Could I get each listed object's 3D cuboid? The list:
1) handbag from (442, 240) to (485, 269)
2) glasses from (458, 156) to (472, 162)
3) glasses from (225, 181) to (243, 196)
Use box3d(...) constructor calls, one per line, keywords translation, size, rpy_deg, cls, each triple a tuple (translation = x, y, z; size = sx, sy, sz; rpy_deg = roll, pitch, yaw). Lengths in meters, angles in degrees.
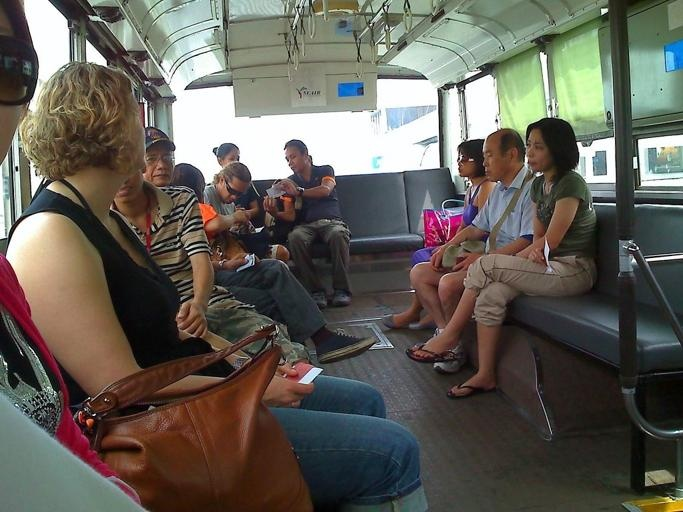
box3d(translation=(1.011, -0.021, 4.068), size=(0.295, 0.123, 0.228), rpy_deg=(-29, 17, -9), cls="handbag")
box3d(translation=(1.277, -0.994, 5.011), size=(0.077, 0.025, 0.079), rpy_deg=(5, -1, -5), cls="glasses")
box3d(translation=(-0.991, -0.608, 4.486), size=(0.110, 0.033, 0.114), rpy_deg=(12, 43, -31), cls="glasses")
